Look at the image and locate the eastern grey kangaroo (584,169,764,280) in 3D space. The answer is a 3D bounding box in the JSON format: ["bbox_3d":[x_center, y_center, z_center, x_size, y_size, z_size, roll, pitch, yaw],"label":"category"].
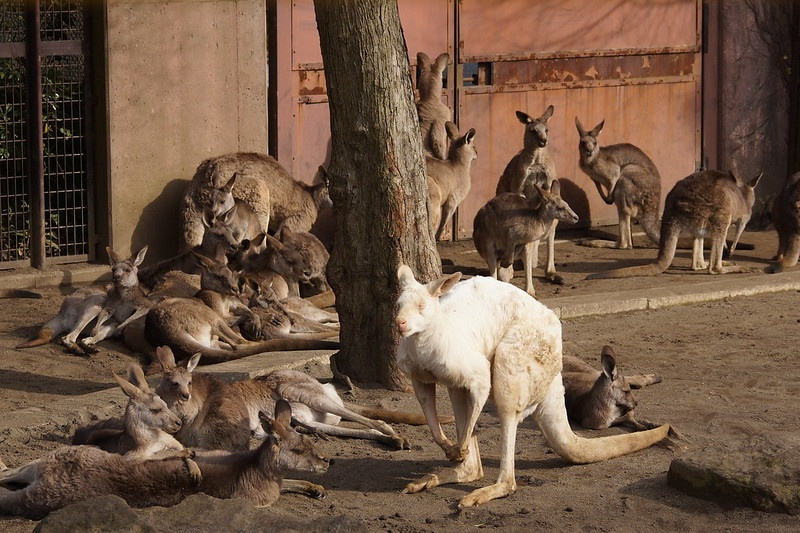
[{"bbox_3d":[3.823,-0.539,14.665,2.628,1.502,0.778,-3,-8,-14],"label":"eastern grey kangaroo"}]
